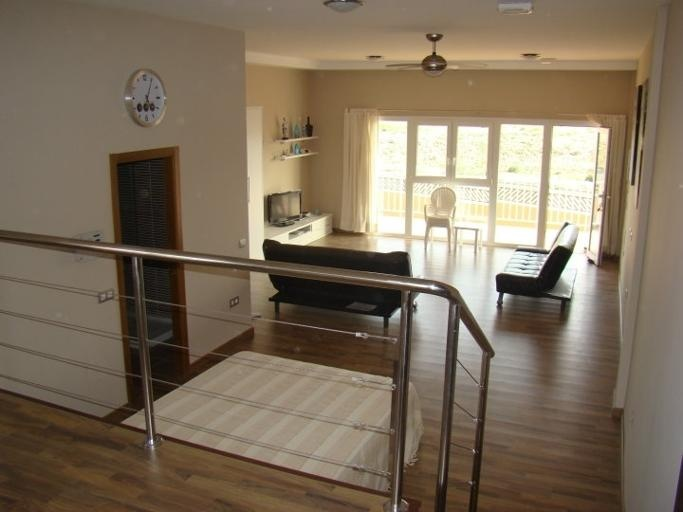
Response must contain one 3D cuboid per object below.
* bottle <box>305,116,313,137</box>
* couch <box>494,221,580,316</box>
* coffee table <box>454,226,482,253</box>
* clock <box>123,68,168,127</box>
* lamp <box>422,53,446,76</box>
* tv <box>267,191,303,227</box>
[{"bbox_3d":[-0.677,-2.611,10.707,0.157,0.416,0.314,-2,12,-1],"label":"bottle"},{"bbox_3d":[2.918,0.070,7.783,1.002,0.845,1.887,4,15,25],"label":"couch"},{"bbox_3d":[2.356,-0.348,10.012,0.541,0.478,0.524,6,24,18],"label":"coffee table"},{"bbox_3d":[-1.719,-1.368,4.566,0.075,0.520,0.548,3,12,17],"label":"clock"},{"bbox_3d":[0.990,-2.093,5.765,0.288,0.232,0.246,1,12,9],"label":"lamp"},{"bbox_3d":[-1.095,-0.935,10.006,0.105,0.557,1.083,8,15,28],"label":"tv"}]
